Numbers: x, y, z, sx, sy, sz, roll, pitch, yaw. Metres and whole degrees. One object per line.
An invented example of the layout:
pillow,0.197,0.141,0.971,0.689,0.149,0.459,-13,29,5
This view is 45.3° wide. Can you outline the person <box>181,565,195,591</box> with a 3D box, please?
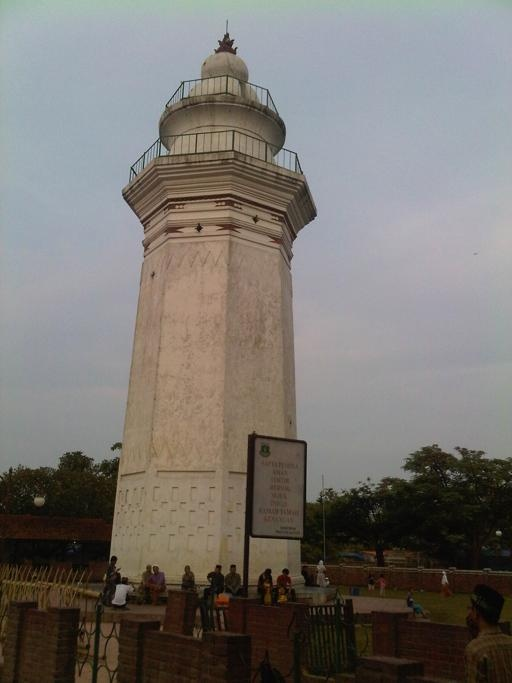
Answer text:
person,-1.900,6.558,16.988,0.383,0.561,1.288,3,-17,-6
